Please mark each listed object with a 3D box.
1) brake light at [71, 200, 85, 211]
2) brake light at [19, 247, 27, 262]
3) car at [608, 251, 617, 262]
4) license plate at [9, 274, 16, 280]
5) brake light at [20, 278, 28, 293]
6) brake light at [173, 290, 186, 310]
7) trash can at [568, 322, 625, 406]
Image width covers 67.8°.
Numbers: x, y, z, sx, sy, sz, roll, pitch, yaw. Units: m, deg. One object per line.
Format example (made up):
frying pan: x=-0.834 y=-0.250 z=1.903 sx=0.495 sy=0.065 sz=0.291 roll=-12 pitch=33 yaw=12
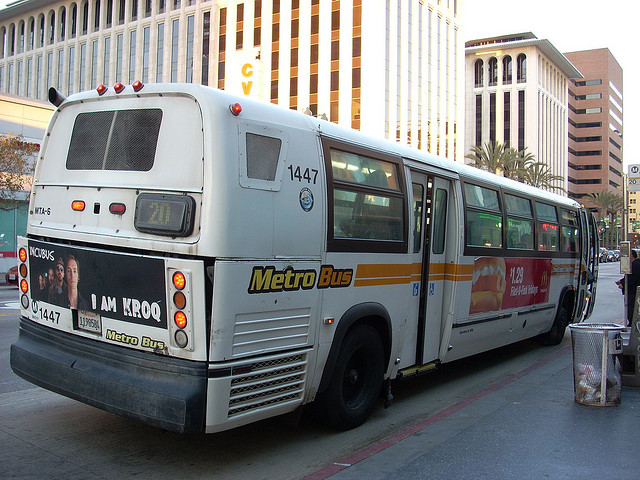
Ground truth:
brake light: x=-2.606 y=-0.375 z=5.144 sx=0.125 sy=0.130 sz=0.031 roll=9 pitch=1 yaw=22
brake light: x=-3.487 y=0.161 z=5.606 sx=0.020 sy=0.128 sz=0.122 roll=-19 pitch=-15 yaw=-46
car: x=53.068 y=2.973 z=87.196 sx=1.379 sy=1.447 sz=2.349 roll=2 pitch=7 yaw=36
license plate: x=-13.471 y=1.605 z=20.923 sx=0.215 sy=0.250 sz=0.024 roll=-1 pitch=2 yaw=11
brake light: x=-3.507 y=0.535 z=5.665 sx=0.133 sy=0.149 sz=0.019 roll=-15 pitch=0 yaw=44
brake light: x=-1.293 y=0.550 z=4.406 sx=0.152 sy=0.177 sz=0.022 roll=-4 pitch=4 yaw=25
trash can: x=4.068 y=1.820 z=7.077 sx=0.678 sy=1.088 sz=0.767 roll=2 pitch=-5 yaw=2
